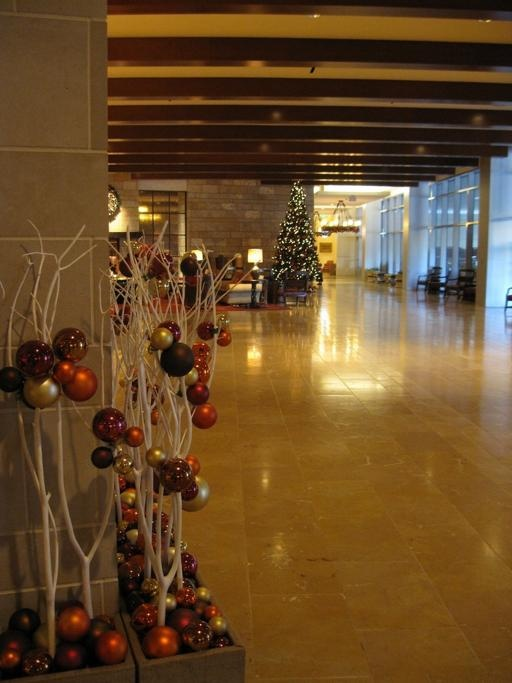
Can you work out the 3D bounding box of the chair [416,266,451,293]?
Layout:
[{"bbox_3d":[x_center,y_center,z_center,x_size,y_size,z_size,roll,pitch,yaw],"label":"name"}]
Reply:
[{"bbox_3d":[5.834,-1.982,17.287,1.072,1.281,0.941,-3,5,-42],"label":"chair"}]
